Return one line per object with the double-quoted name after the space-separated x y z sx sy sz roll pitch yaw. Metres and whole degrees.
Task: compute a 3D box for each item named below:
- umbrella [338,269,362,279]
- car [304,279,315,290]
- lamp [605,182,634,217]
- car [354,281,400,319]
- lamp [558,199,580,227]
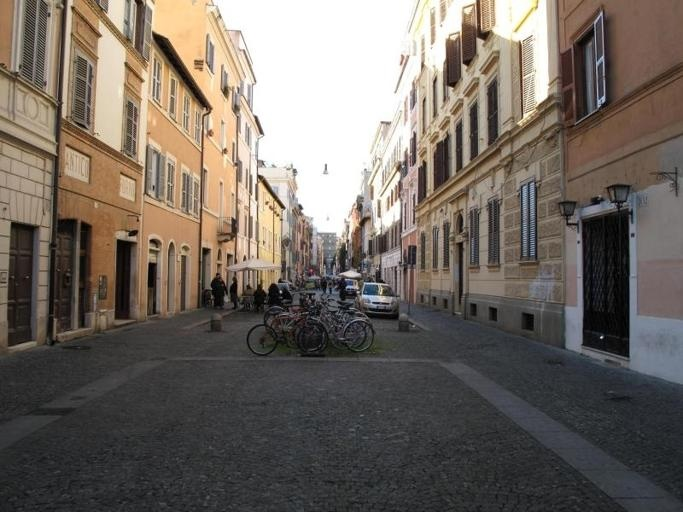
0.683 1.568 43.682 1.139 0.562 1.301 2 -1 13 "umbrella"
-4.328 3.576 73.427 1.623 1.415 1.710 4 -4 -30 "car"
5.827 -1.223 11.868 0.469 0.656 0.480 4 2 19 "lamp"
1.572 2.027 24.964 1.336 1.292 3.174 1 -6 -4 "car"
5.626 -1.026 14.047 0.440 0.677 0.618 1 4 13 "lamp"
